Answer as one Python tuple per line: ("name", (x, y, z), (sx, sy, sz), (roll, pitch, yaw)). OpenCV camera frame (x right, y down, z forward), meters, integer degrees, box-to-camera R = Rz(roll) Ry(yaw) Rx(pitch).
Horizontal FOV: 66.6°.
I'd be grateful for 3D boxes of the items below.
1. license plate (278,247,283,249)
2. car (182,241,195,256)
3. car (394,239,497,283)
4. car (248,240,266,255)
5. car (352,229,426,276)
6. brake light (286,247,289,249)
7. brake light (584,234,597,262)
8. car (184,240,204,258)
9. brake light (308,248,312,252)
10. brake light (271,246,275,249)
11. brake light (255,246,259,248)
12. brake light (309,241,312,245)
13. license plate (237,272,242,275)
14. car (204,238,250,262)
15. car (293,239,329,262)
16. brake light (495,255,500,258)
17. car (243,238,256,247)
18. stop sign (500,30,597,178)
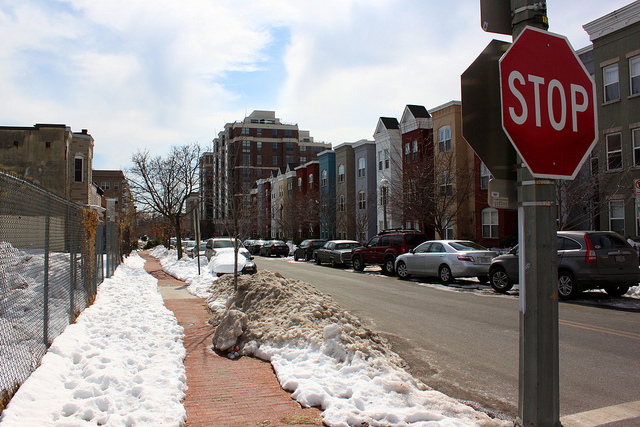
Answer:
("license plate", (-3.466, 3.039, 42.526), (0.386, 0.107, 0.083), (0, 4, -13))
("car", (-11.294, 2.991, 41.751), (0.825, 0.816, 1.750), (1, -6, -29))
("car", (4.952, 1.869, 19.765), (1.587, 1.276, 3.621), (2, -3, -23))
("car", (-6.022, 3.281, 46.630), (1.118, 1.031, 2.617), (0, -2, -9))
("car", (3.540, 1.805, 24.228), (1.675, 1.737, 3.271), (1, -1, -33))
("brake light", (-2.867, 3.051, 42.775), (0.167, 0.183, 0.180), (-2, -7, -4))
("brake light", (7.779, 1.021, 14.042), (0.234, 0.751, 0.384), (-2, 5, -33))
("car", (-11.266, 2.983, 42.263), (1.354, 1.309, 2.570), (1, -8, -22))
("brake light", (-0.709, 2.556, 34.162), (0.177, 0.378, 0.185), (3, -6, -25))
("brake light", (-4.088, 2.982, 42.484), (0.239, 0.215, 0.065), (2, 4, 18))
("brake light", (-6.083, 3.230, 46.908), (0.471, 0.151, 0.123), (2, 4, 21))
("brake light", (-0.668, 2.118, 34.634), (0.137, 0.275, 0.267), (3, -8, -19))
("license plate", (-3.013, 2.241, 18.290), (0.180, 0.200, 0.101), (2, -6, -8))
("car", (-4.997, 1.743, 25.537), (1.695, 1.467, 3.050), (2, -9, -24))
("car", (-0.923, 2.731, 35.272), (1.215, 1.039, 2.578), (1, -2, -22))
("brake light", (6.520, 1.578, 17.932), (0.168, 0.056, 0.038), (-30, -9, 39))
("car", (-7.363, 3.022, 50.670), (1.482, 0.806, 0.863), (6, 3, 43))
("stop sign", (2.771, -1.308, 5.884), (1.216, 1.763, 0.355), (-1, 4, -20))
